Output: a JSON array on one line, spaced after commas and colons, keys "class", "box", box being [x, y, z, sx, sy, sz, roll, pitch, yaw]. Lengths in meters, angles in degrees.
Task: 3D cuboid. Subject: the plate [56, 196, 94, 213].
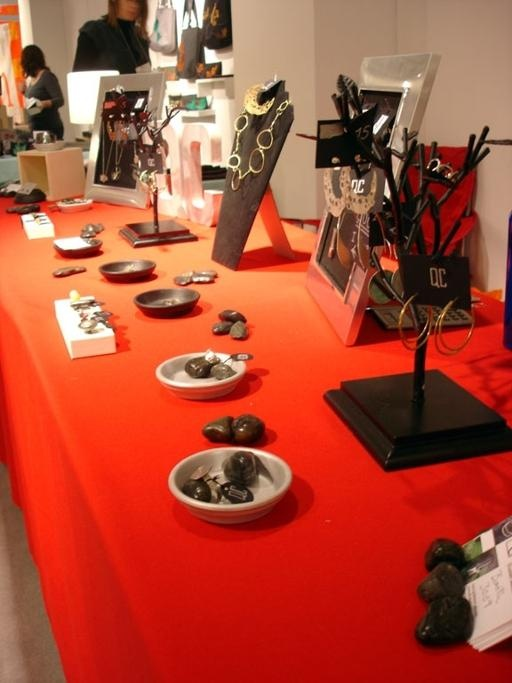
[{"class": "plate", "box": [-0.818, -0.619, 2.279, 0.132, 0.042, 0.084, -5, 20, -18]}]

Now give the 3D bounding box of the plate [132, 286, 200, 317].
[{"class": "plate", "box": [-0.199, -0.108, 1.101, 0.091, 0.024, 0.086, -26, 35, -38]}]

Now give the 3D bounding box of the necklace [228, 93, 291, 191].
[{"class": "necklace", "box": [-0.009, -0.549, 1.419, 0.073, 0.270, 0.202, 14, -9, -29]}]

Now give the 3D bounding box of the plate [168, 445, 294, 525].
[{"class": "plate", "box": [-0.023, 0.144, 0.503, 0.117, 0.048, 0.109, 8, 20, 18]}]

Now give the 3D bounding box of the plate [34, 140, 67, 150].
[{"class": "plate", "box": [-1.121, -1.064, 2.743, 0.156, 0.053, 0.191, -7, 21, -22]}]

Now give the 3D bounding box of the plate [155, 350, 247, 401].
[{"class": "plate", "box": [-0.082, 0.057, 0.752, 0.088, 0.022, 0.086, -7, 25, -18]}]

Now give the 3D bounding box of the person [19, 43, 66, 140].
[{"class": "person", "box": [-1.690, -1.997, 4.006, 0.292, 0.751, 1.382, -7, 21, -21]}]

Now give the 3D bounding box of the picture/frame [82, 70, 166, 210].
[{"class": "picture/frame", "box": [-0.570, -0.866, 2.195, 0.082, 0.799, 0.674, -8, 30, -37]}]
